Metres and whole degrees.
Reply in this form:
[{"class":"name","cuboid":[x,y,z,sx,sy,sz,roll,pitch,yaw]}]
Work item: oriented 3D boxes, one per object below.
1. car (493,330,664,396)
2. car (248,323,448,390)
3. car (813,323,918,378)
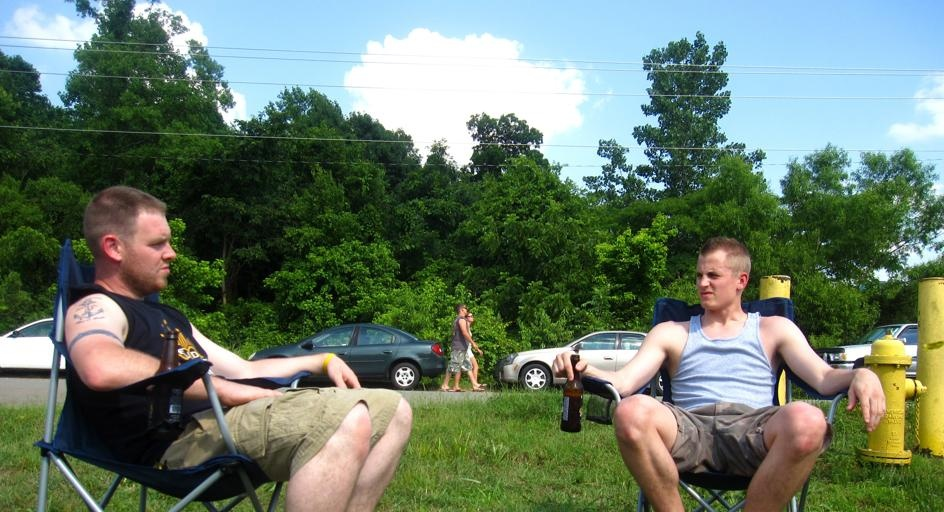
[{"class":"car","cuboid":[2.986,3.191,24.128,4.312,1.358,1.938,2,-12,0]},{"class":"car","cuboid":[-3.309,3.368,24.325,5.365,1.767,2.336,3,-12,-2]},{"class":"car","cuboid":[10.622,2.519,21.252,2.585,1.144,1.486,4,-11,-6]}]
